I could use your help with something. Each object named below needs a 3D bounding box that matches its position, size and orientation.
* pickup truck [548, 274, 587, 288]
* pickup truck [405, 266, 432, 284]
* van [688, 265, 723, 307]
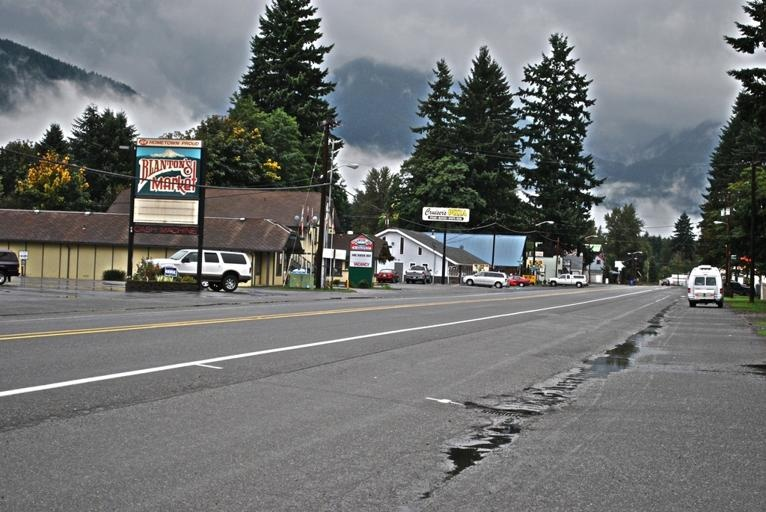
[{"bbox_3d":[28.086,4.152,105.320,4.444,1.736,2.655,2,1,25],"label":"pickup truck"},{"bbox_3d":[4.387,2.221,82.032,3.207,1.954,2.802,2,3,-25],"label":"pickup truck"},{"bbox_3d":[21.983,2.075,47.765,1.781,2.122,3.426,-1,-4,18],"label":"van"}]
